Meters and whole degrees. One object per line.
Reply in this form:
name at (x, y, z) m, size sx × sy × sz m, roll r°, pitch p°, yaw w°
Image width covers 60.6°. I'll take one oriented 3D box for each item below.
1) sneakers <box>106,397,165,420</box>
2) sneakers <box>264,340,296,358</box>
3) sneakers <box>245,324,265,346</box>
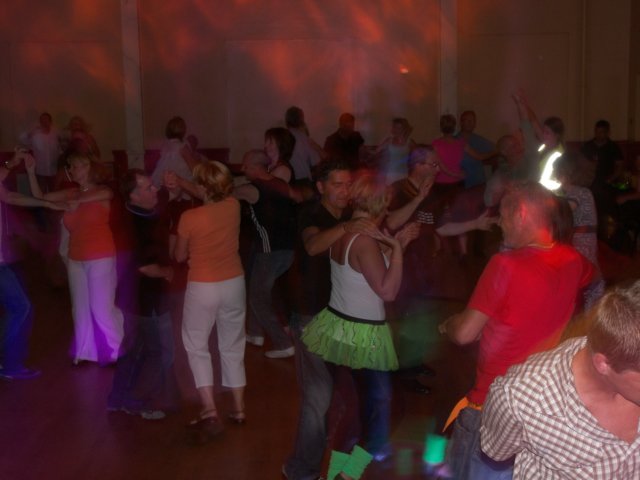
sneakers at (-1.330, 1.252, 4.098) m, size 0.458 × 0.218 × 0.158 m, roll -3°, pitch 3°, yaw 14°
sneakers at (-0.352, 1.027, 5.100) m, size 0.365 × 0.163 × 0.116 m, roll 3°, pitch 10°, yaw -2°
sneakers at (-0.639, 0.957, 5.395) m, size 0.138 × 0.153 × 0.175 m, roll 1°, pitch -2°, yaw -34°
